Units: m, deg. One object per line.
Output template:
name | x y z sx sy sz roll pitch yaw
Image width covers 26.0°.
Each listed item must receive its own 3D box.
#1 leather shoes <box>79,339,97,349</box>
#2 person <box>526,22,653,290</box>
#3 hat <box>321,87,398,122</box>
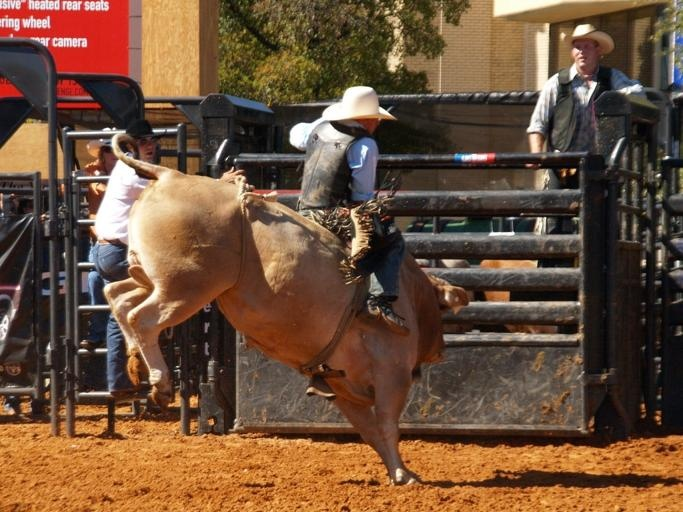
leather shoes | -2.854 1.004 16.367 0.066 0.080 0.197 9 6 28
person | 2.665 -1.253 16.469 1.168 2.623 1.462 2 13 10
hat | 0.168 -1.512 14.516 0.792 0.295 0.629 -1 23 -14
